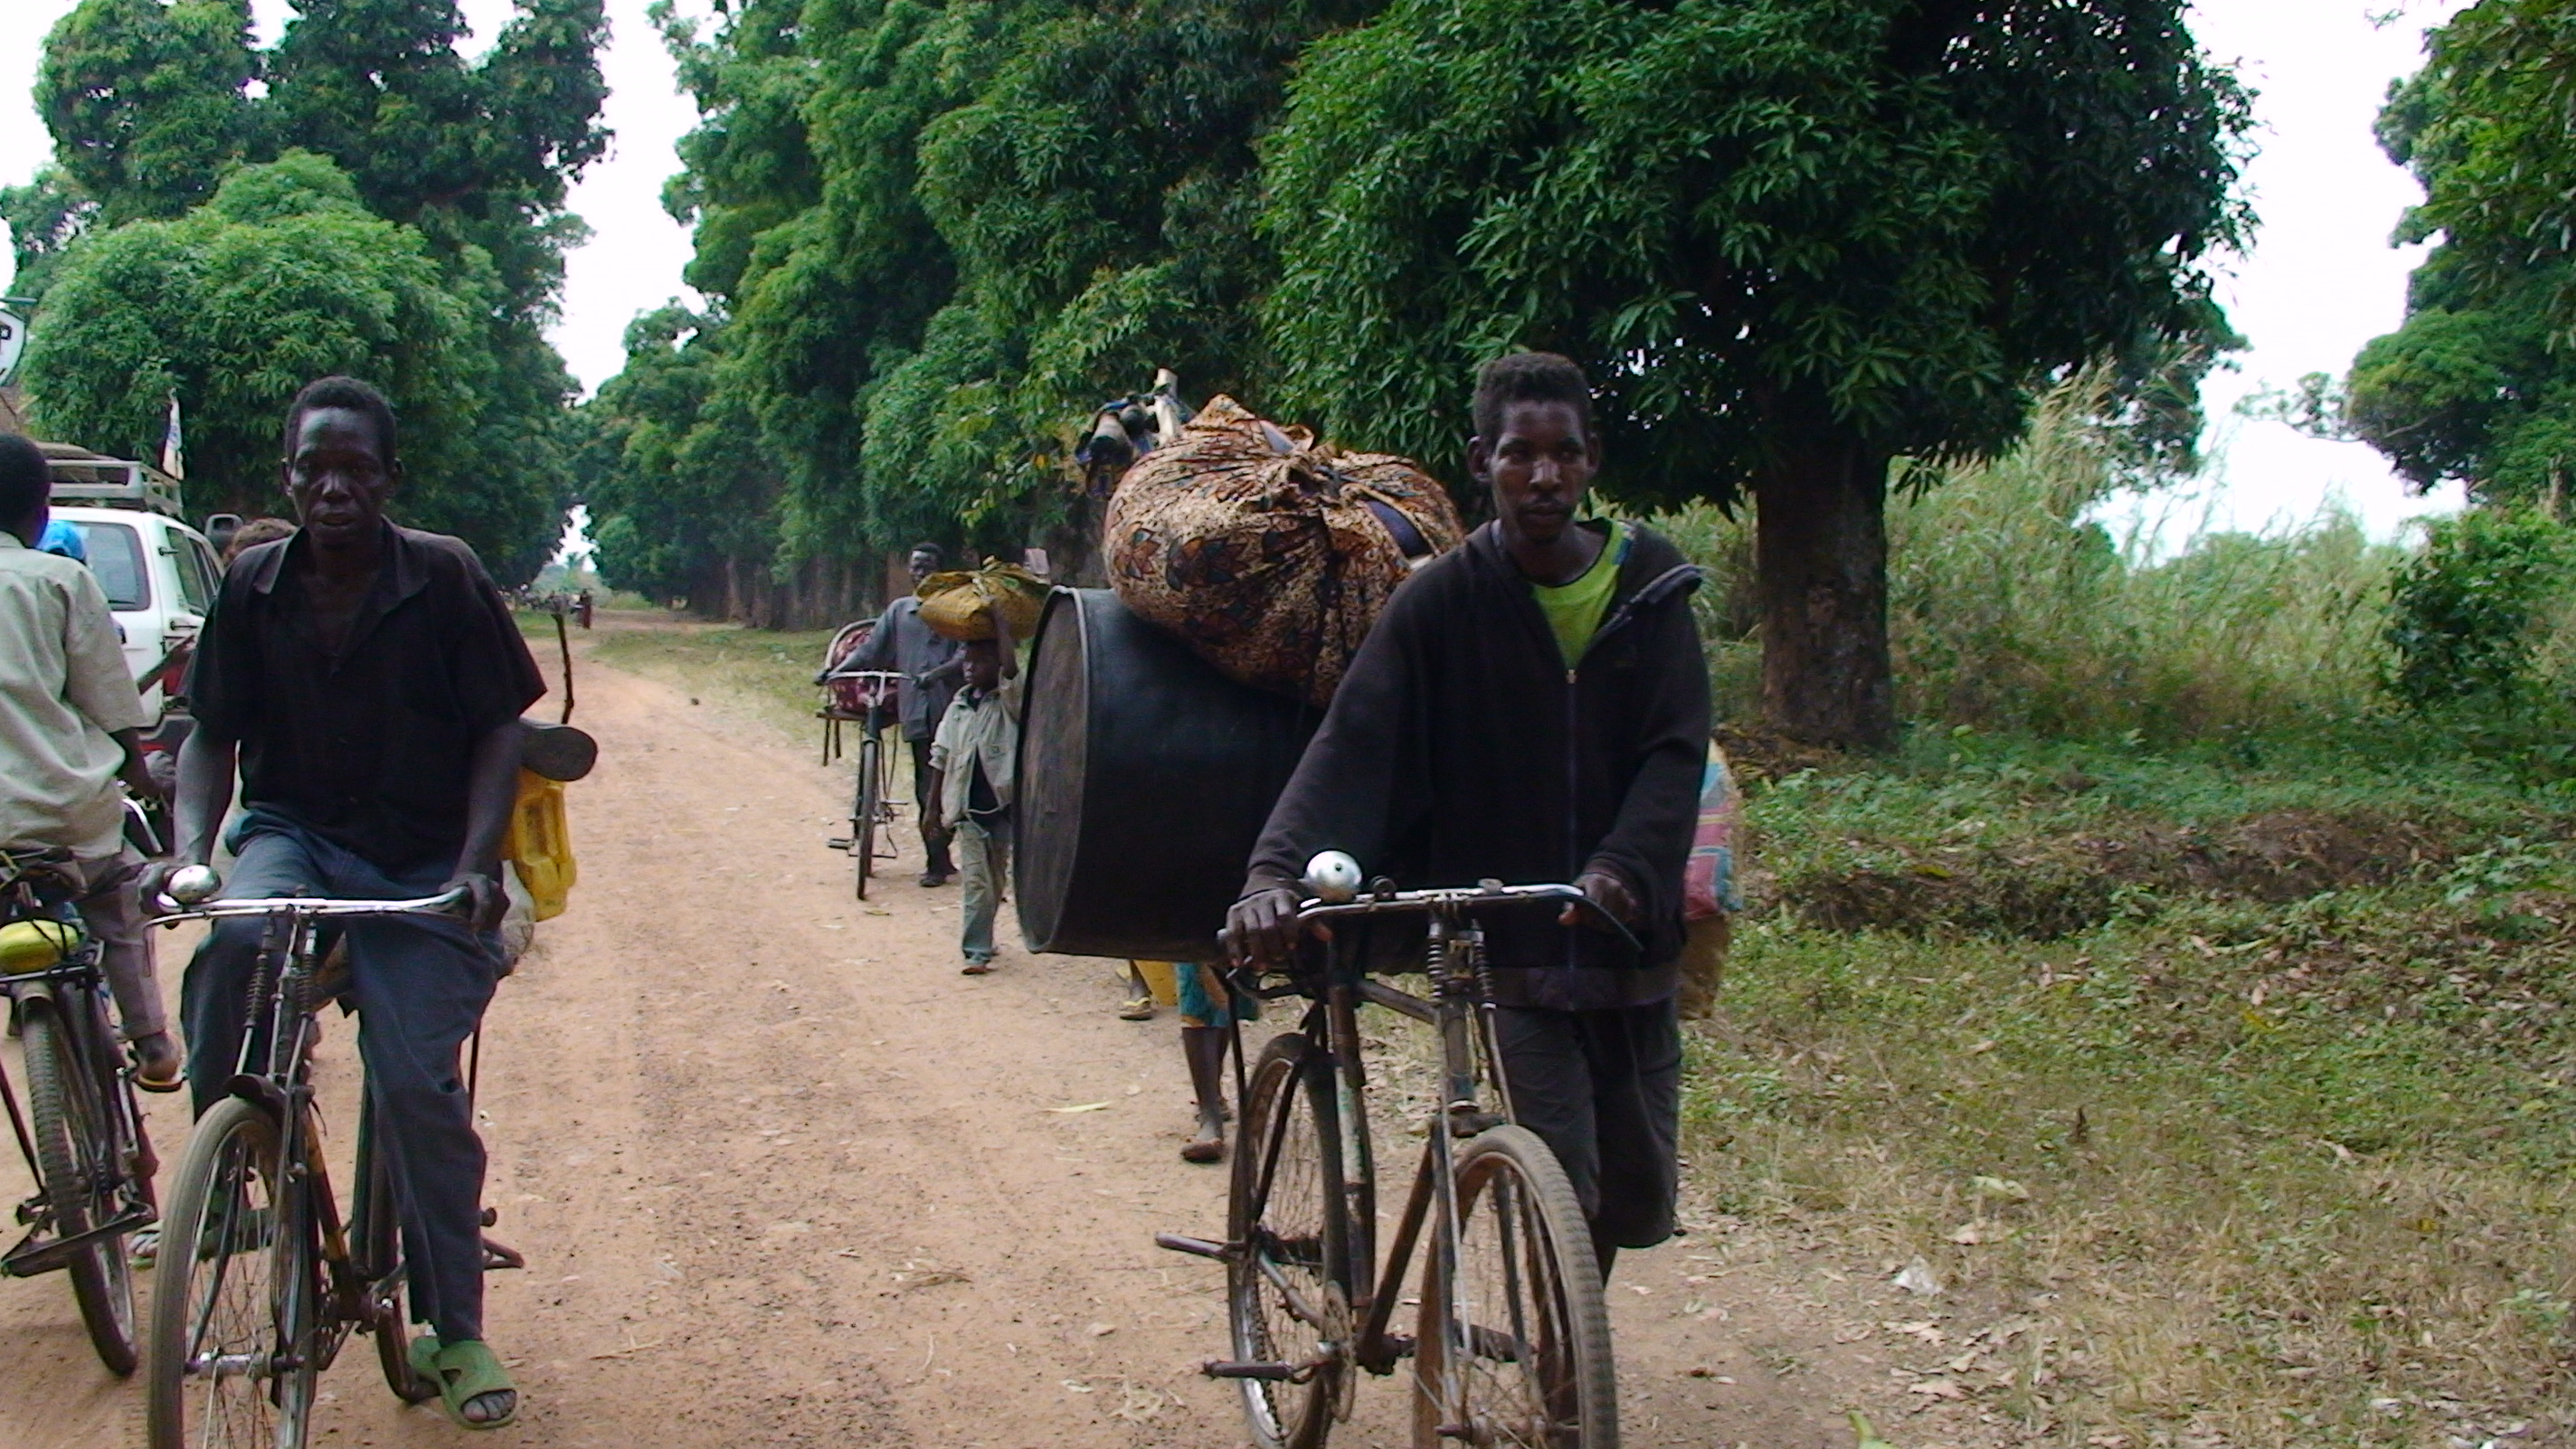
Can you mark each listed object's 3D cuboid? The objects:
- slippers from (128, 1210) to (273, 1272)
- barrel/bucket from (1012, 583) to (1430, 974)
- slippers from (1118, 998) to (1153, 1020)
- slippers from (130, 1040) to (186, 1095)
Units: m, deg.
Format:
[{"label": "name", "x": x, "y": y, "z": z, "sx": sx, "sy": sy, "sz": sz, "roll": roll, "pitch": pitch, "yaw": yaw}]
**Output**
[{"label": "slippers", "x": -4.502, "y": 2.150, "z": 9.167, "sx": 0.486, "sy": 0.143, "sz": 0.444, "roll": 0, "pitch": -4, "yaw": -1}, {"label": "barrel/bucket", "x": -0.661, "y": 0.273, "z": 10.111, "sx": 1.908, "sy": 1.671, "sz": 1.619, "roll": 11, "pitch": 38, "yaw": -18}, {"label": "slippers", "x": -0.891, "y": 1.679, "z": 12.929, "sx": 0.168, "sy": 0.096, "sz": 0.094, "roll": -2, "pitch": 13, "yaw": -15}, {"label": "slippers", "x": -5.404, "y": 1.654, "z": 10.601, "sx": 0.202, "sy": 0.274, "sz": 0.289, "roll": -3, "pitch": -11, "yaw": 10}]
